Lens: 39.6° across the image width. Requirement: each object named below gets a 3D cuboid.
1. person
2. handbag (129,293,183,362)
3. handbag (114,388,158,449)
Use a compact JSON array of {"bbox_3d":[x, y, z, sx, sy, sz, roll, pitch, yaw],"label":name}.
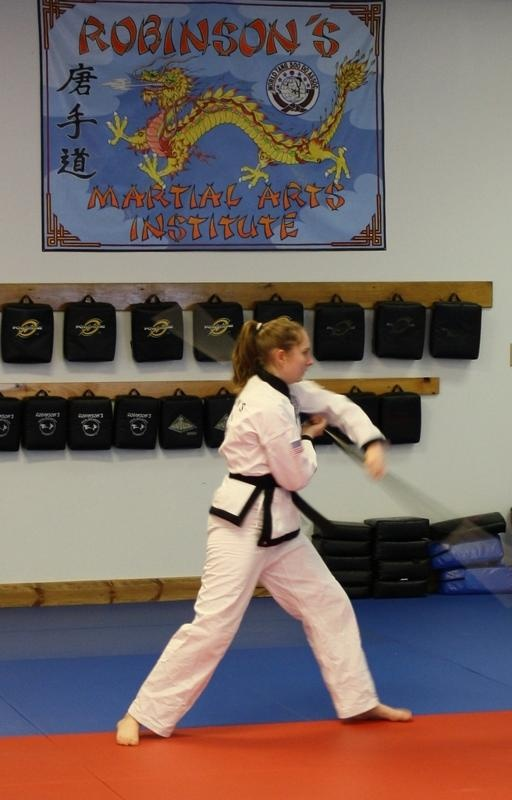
[{"bbox_3d":[0.006,0.361,2.169,0.812,1.239,0.326,-3,-7,9],"label":"person"},{"bbox_3d":[-0.527,-0.374,3.724,0.361,0.472,0.169,-2,2,-18],"label":"handbag"},{"bbox_3d":[-0.595,0.100,3.826,0.323,0.423,0.234,1,0,-9],"label":"handbag"}]
